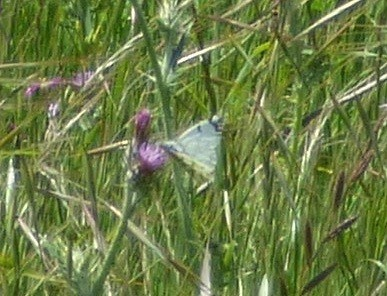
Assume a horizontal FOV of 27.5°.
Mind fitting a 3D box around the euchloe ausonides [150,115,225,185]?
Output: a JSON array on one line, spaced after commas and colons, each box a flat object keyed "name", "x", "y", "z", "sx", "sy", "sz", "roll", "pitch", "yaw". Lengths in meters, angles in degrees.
[{"name": "euchloe ausonides", "x": -0.002, "y": -0.003, "z": 0.999, "sx": 0.078, "sy": 0.052, "sz": 0.066, "roll": -2, "pitch": 42, "yaw": 4}]
